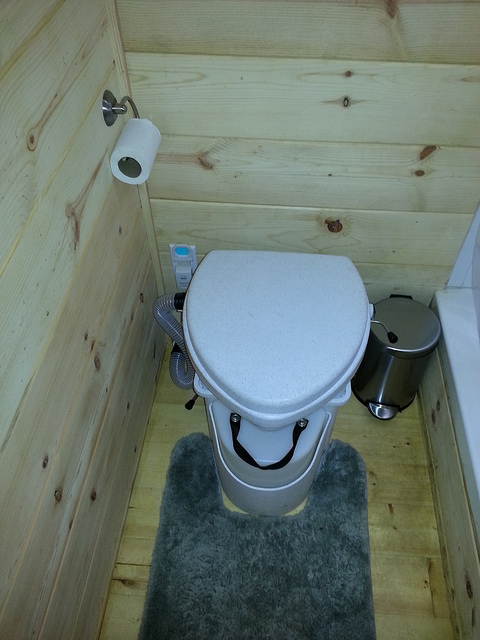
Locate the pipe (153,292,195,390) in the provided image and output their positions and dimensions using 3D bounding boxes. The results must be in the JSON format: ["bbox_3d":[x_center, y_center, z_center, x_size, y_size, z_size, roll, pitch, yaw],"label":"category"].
[{"bbox_3d":[-0.147,0.046,1.308,0.140,0.260,0.132,2,39,0],"label":"pipe"}]

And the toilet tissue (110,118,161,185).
[{"bbox_3d":[-0.186,-0.315,0.893,0.064,0.073,0.138,-1,57,5],"label":"toilet tissue"}]

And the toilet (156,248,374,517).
[{"bbox_3d":[0.055,0.126,1.211,0.571,0.744,0.522,1,59,4],"label":"toilet"}]
